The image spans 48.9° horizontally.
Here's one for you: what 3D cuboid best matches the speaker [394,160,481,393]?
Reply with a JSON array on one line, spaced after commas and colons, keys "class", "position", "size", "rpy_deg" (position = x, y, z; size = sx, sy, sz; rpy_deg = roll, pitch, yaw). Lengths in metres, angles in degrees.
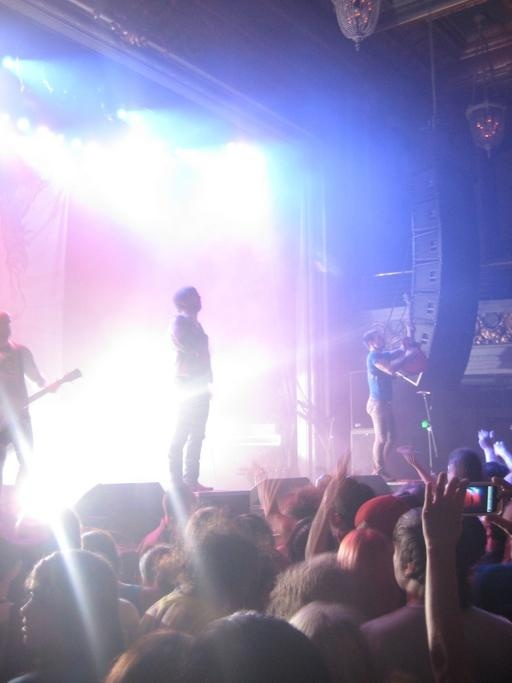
[{"class": "speaker", "position": [1.955, -0.648, 5.861], "size": [0.662, 2.323, 0.412], "rpy_deg": [3, 6, 19]}]
